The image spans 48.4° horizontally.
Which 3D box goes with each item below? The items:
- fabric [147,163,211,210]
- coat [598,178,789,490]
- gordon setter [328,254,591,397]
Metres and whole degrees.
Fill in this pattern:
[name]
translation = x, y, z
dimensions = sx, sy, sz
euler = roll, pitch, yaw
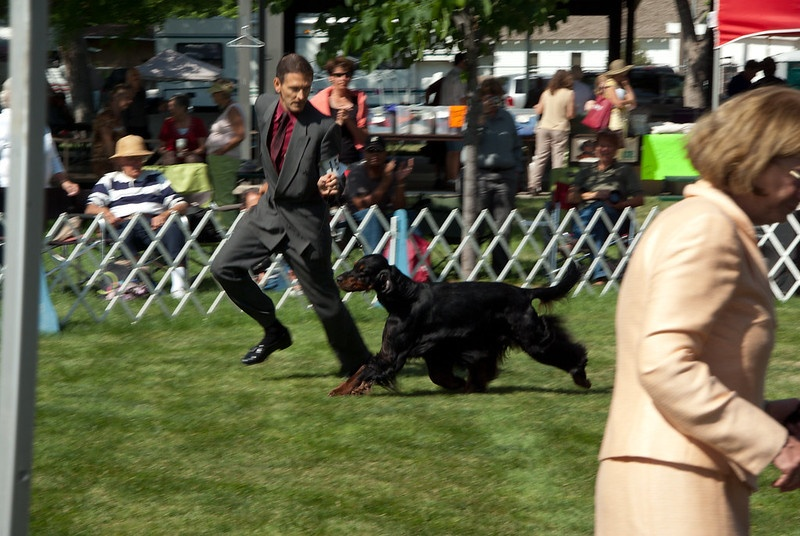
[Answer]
[fabric]
translation = -2.379, -0.829, 9.133
dimensions = 0.811, 0.267, 0.670
euler = 7, -14, -31
[coat]
translation = 0.922, 0.218, 2.708
dimensions = 0.527, 0.893, 0.418
euler = 4, 17, 10
[gordon setter]
translation = 0.348, 0.399, 6.089
dimensions = 2.264, 0.831, 0.550
euler = 1, 0, -35
